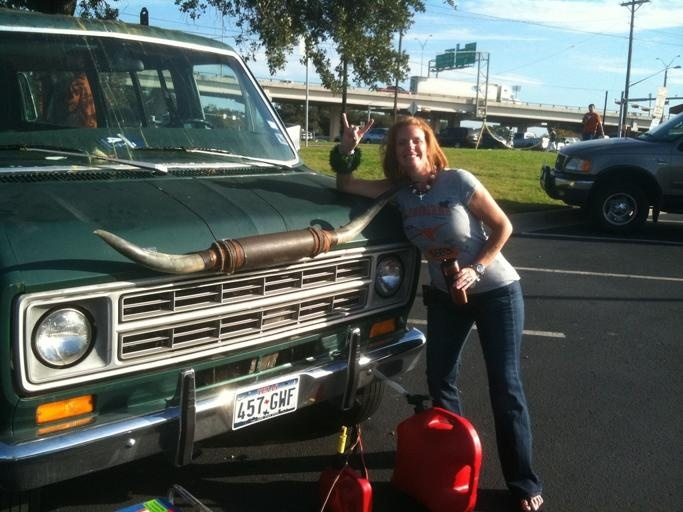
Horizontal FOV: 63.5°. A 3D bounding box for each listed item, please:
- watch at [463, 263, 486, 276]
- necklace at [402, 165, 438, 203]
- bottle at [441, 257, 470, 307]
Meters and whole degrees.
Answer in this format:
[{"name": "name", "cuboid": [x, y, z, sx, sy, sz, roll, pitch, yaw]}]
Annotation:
[{"name": "watch", "cuboid": [0.757, 0.070, 3.114, 0.118, 0.071, 0.110, -4, -5, -16]}, {"name": "necklace", "cuboid": [0.476, -0.421, 3.278, 0.143, 0.192, 0.067, 19, -12, 47]}, {"name": "bottle", "cuboid": [0.628, 0.134, 3.063, 0.131, 0.253, 0.074, -14, 7, 42]}]
